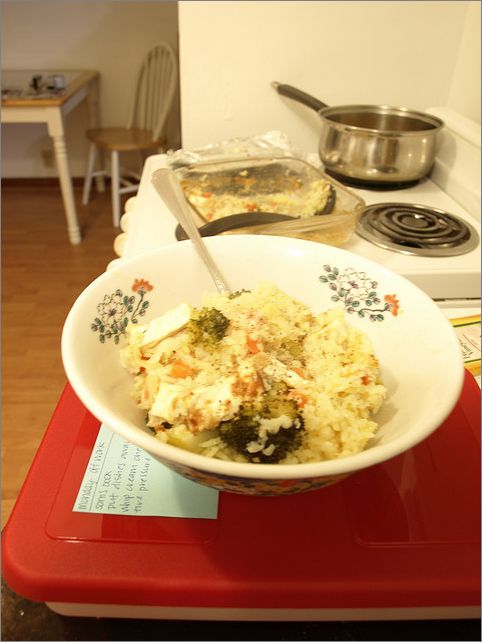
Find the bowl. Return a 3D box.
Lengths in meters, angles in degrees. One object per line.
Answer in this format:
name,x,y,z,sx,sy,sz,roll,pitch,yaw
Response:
bowl,0.049,0.020,0.503,0.317,0.110,0.292,2,36,-1

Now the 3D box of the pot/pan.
pot/pan,0.250,-0.445,1.214,0.216,0.123,0.357,-18,35,-29
